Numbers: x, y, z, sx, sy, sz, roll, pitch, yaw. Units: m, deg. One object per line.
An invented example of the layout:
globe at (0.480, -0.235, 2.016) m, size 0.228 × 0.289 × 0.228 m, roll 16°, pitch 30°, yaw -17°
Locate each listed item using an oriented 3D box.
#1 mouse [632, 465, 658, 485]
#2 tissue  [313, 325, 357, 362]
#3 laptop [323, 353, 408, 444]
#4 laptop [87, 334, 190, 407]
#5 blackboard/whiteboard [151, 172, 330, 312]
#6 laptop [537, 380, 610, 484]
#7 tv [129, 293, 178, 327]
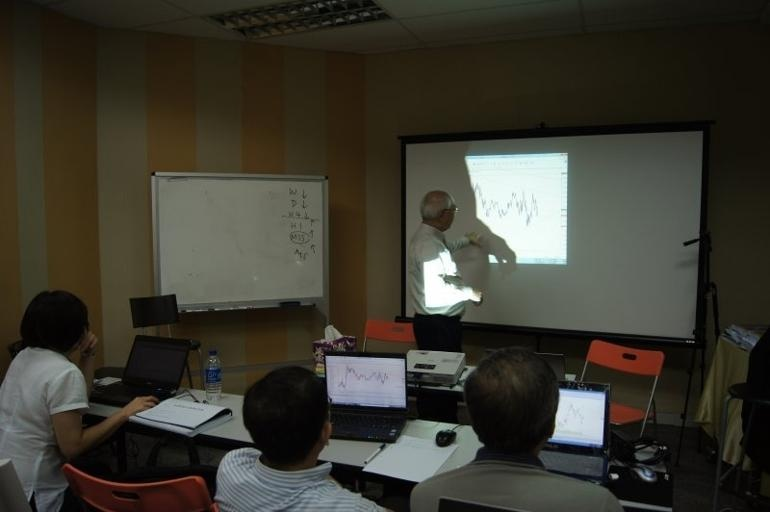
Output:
mouse at (1.447, 1.213, 3.121) m, size 0.075 × 0.035 × 0.108 m, roll -4°, pitch 0°, yaw -21°
tissue  at (-0.394, 0.647, 4.109) m, size 0.220 × 0.352 × 0.333 m, roll -4°, pitch -7°, yaw 26°
laptop at (-0.126, 0.876, 3.632) m, size 0.629 × 0.441 × 0.471 m, roll 1°, pitch 2°, yaw 8°
laptop at (-1.710, 0.798, 3.932) m, size 0.555 × 0.356 × 0.510 m, roll 4°, pitch -1°, yaw 24°
blackboard/whiteboard at (-1.452, -0.157, 5.368) m, size 1.334 × 1.109 × 0.184 m, roll -1°, pitch 1°, yaw -18°
laptop at (1.116, 0.932, 3.271) m, size 0.543 × 0.418 × 0.462 m, roll 2°, pitch -1°, yaw 27°
tv at (-1.938, 0.466, 4.690) m, size 0.435 × 0.315 × 0.236 m, roll -2°, pitch -7°, yaw -37°
